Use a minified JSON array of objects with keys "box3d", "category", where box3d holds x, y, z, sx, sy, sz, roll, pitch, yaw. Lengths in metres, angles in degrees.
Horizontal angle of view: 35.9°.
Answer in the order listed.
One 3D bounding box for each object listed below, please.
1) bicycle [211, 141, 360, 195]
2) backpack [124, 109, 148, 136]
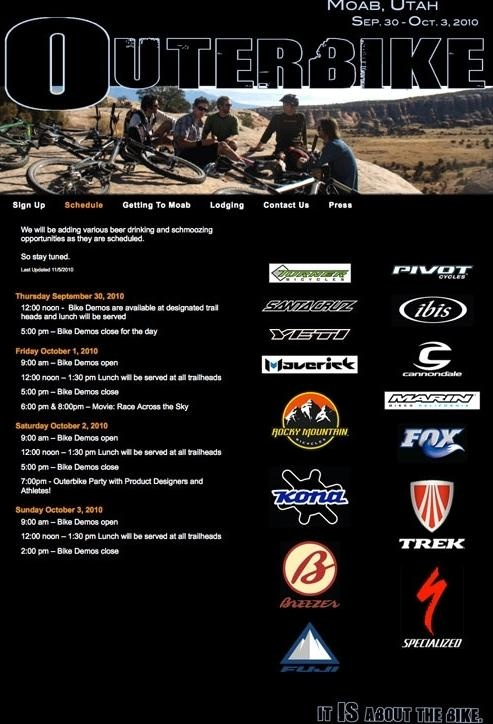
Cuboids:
[{"box3d":[0.237,-1.085,4.533,0.761,0.390,0.472,0,-4,-19],"category":"bicycle"},{"box3d":[-0.654,-1.445,4.601,0.148,0.211,0.116,5,21,5],"category":"backpack"}]
